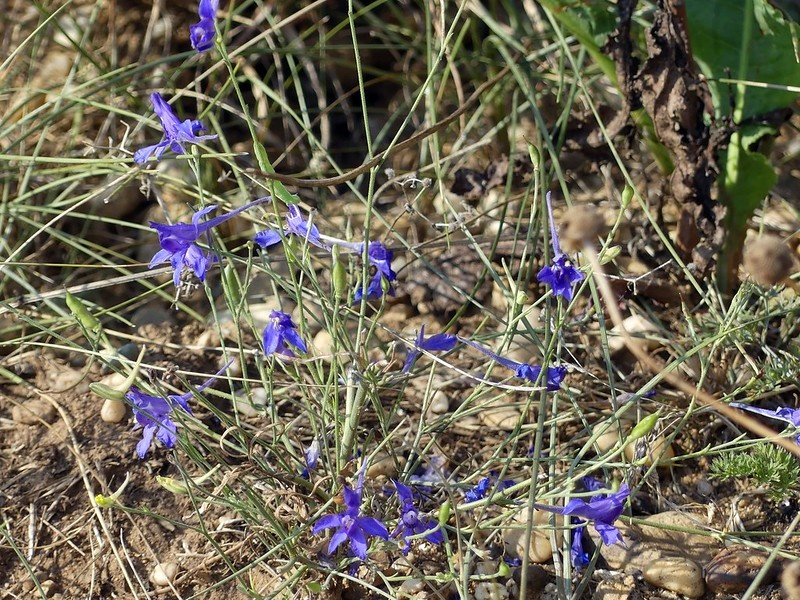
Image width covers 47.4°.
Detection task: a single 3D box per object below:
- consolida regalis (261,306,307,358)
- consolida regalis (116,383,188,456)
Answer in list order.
[{"bbox_3d":[-0.316,0.117,2.388,0.094,0.049,0.133,12,34,-33],"label":"consolida regalis"},{"bbox_3d":[-0.652,0.326,2.427,0.166,0.130,0.164,-44,50,-4],"label":"consolida regalis"}]
